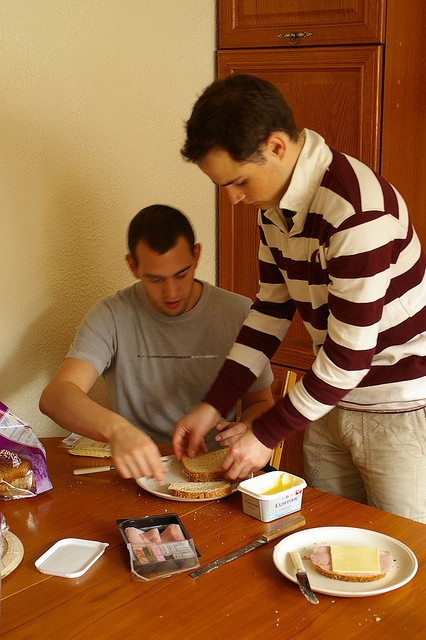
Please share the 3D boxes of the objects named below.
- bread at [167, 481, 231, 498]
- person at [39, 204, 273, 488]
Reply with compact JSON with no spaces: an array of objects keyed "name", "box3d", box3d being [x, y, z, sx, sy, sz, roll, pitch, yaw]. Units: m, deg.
[{"name":"bread","box3d":[-0.025,0.336,0.985,0.085,0.014,0.046,-2,2,-8]},{"name":"person","box3d":[-0.144,0.095,1.331,0.511,0.839,0.499,-9,20,-35]}]
